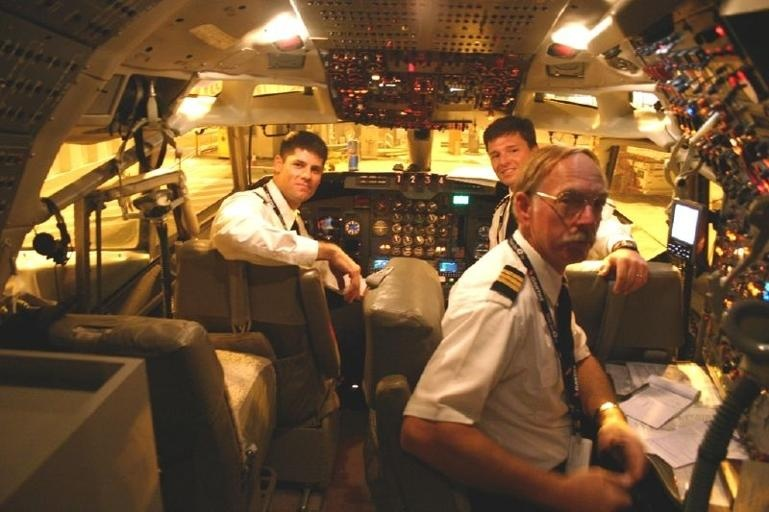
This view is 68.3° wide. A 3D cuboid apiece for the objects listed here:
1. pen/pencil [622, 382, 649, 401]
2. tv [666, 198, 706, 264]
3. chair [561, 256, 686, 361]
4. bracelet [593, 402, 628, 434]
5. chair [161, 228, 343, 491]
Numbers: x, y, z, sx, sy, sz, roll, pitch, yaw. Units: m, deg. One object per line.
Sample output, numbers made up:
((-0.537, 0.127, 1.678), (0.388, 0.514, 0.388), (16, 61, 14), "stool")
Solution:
((1.137, 0.618, 2.576), (0.091, 0.017, 0.024), (-31, 39, -20), "pen/pencil")
((1.535, -0.134, 2.887), (0.096, 0.277, 0.257), (3, 2, -1), "tv")
((1.181, 0.315, 2.892), (0.643, 0.484, 0.322), (-4, -18, 12), "chair")
((0.894, 0.640, 2.264), (0.143, 0.093, 0.176), (12, -11, -4), "bracelet")
((-0.925, 0.720, 3.491), (1.248, 1.259, 1.201), (-4, -20, 12), "chair")
